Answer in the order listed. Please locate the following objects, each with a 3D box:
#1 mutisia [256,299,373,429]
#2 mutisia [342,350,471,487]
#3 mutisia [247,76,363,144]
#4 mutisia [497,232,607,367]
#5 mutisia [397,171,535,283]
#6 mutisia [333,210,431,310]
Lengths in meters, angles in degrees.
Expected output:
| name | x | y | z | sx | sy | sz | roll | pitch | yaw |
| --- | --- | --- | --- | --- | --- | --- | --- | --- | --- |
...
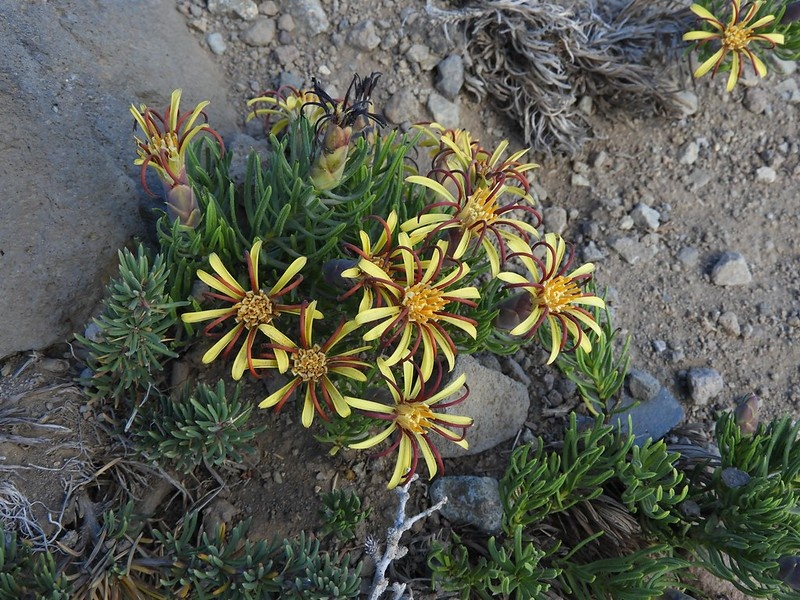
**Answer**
| name | x | y | z | sx | sy | sz | roll | pitch | yaw |
| --- | --- | --- | --- | --- | --- | --- | --- | --- | --- |
| mutisia | -0.428 | 0.287 | 3.236 | 0.122 | 0.476 | 0.548 | -35 | 48 | 8 |
| mutisia | 0.050 | 0.482 | 3.245 | 0.486 | 0.169 | 0.563 | 34 | 60 | -32 |
| mutisia | -0.311 | -0.903 | 3.711 | 0.361 | 0.358 | 0.170 | 20 | 89 | -6 |
| mutisia | 0.615 | -0.027 | 3.394 | 0.508 | 0.201 | 0.589 | 11 | 47 | -27 |
| mutisia | 0.359 | -0.396 | 3.455 | 0.593 | 0.626 | 0.232 | 34 | 89 | -33 |
| mutisia | -0.101 | -0.147 | 3.176 | 0.127 | 0.363 | 0.390 | 12 | 73 | 40 |
